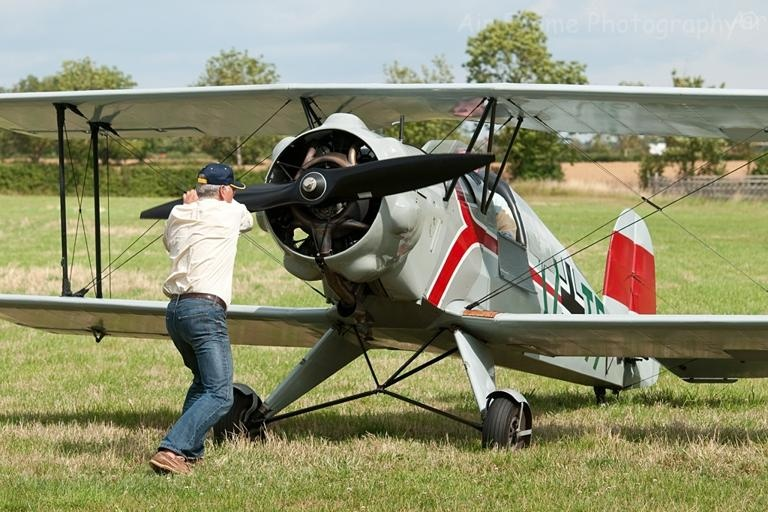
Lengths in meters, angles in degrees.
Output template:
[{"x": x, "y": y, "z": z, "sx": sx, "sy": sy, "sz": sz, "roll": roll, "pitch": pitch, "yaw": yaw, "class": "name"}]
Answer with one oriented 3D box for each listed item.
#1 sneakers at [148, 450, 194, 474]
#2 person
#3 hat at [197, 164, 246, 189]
[{"x": -2.158, "y": 2.083, "z": 13.494, "sx": 0.449, "sy": 0.183, "sz": 0.193, "roll": 12, "pitch": 20, "yaw": -25, "class": "sneakers"}, {"x": -1.861, "y": 0.612, "z": 13.678, "sx": 0.879, "sy": 3.016, "sz": 1.152, "roll": 2, "pitch": 14, "yaw": 3, "class": "person"}, {"x": -1.699, "y": -0.837, "z": 13.894, "sx": 0.424, "sy": 0.180, "sz": 0.266, "roll": -2, "pitch": 10, "yaw": -25, "class": "hat"}]
